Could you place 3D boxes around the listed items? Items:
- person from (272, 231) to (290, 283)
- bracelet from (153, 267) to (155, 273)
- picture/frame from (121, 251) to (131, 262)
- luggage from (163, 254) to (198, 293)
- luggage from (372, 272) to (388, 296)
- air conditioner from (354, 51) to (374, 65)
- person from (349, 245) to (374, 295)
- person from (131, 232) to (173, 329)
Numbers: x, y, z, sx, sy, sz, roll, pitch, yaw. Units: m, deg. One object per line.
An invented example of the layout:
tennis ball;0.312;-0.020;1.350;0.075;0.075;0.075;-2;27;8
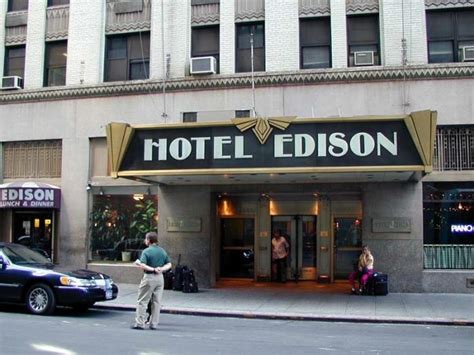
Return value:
person;1.705;3.157;24.820;0.663;2.103;0.545;0;-7;4
bracelet;-2.246;2.526;16.851;0.031;0.087;0.073;5;-10;-31
picture/frame;-4.394;3.152;24.646;0.351;0.304;0.382;2;-2;0
luggage;-2.048;3.727;22.769;0.733;1.581;1.735;13;-21;-42
luggage;5.041;3.768;21.947;0.575;0.840;0.437;-3;4;-7
air conditioner;4.774;-4.430;23.516;0.861;0.642;0.477;-1;-8;11
person;4.425;3.289;22.059;0.807;1.710;0.456;-5;-8;36
person;-2.319;2.869;17.125;0.909;2.679;0.845;2;-7;-14
